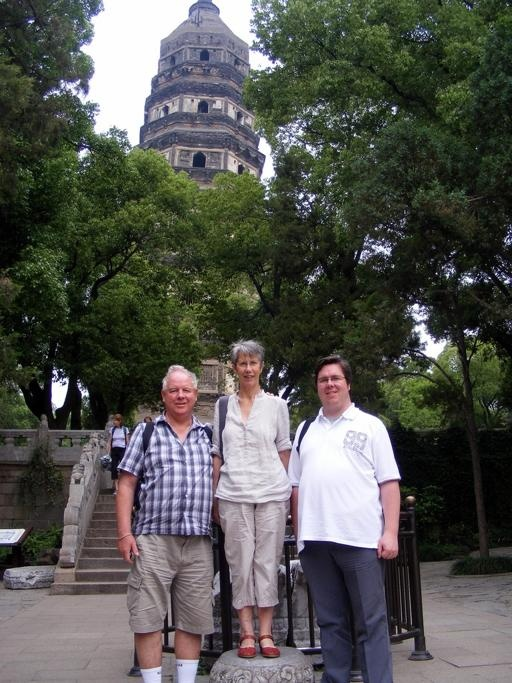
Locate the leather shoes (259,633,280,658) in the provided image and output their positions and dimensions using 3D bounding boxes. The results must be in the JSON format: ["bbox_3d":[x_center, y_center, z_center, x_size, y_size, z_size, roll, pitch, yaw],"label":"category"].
[{"bbox_3d":[0.062,1.413,3.042,0.093,0.082,0.212,-1,-14,0],"label":"leather shoes"}]

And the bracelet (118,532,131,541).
[{"bbox_3d":[-0.630,0.928,3.105,0.023,0.034,0.077,10,-17,-37],"label":"bracelet"}]

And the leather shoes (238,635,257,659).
[{"bbox_3d":[-0.043,1.397,3.008,0.080,0.083,0.145,0,-14,-3],"label":"leather shoes"}]
